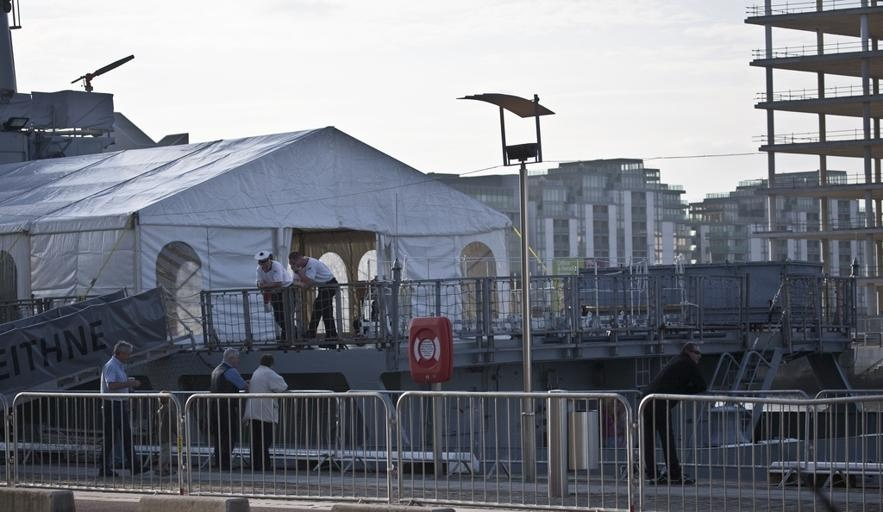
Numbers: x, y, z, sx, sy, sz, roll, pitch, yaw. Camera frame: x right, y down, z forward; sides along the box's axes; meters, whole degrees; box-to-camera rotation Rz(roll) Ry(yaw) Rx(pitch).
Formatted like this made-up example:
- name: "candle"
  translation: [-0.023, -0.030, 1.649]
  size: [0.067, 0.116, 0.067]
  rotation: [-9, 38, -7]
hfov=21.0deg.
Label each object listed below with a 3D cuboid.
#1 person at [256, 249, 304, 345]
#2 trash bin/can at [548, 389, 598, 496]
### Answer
- name: "person"
  translation: [-6.008, 1.415, 84.838]
  size: [1.650, 3.257, 1.166]
  rotation: [-8, -3, -42]
- name: "trash bin/can"
  translation: [4.317, 6.062, 77.550]
  size: [1.963, 3.416, 0.917]
  rotation: [2, -7, -38]
